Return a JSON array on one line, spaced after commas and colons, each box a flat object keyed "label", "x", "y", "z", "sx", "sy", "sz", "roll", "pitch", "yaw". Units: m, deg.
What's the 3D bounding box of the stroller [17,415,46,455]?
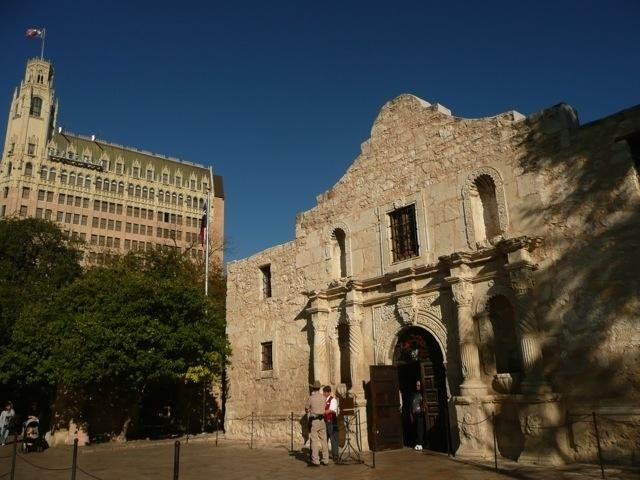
[{"label": "stroller", "x": -11.168, "y": 7.603, "z": 21.245, "sx": 0.859, "sy": 1.319, "sz": 1.763, "roll": 9, "pitch": -21, "yaw": -25}]

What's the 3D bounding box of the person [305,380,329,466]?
[{"label": "person", "x": -0.087, "y": 5.492, "z": 15.838, "sx": 0.629, "sy": 2.068, "sz": 0.803, "roll": 0, "pitch": -19, "yaw": -1}]

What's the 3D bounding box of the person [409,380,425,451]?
[{"label": "person", "x": 3.267, "y": 5.829, "z": 18.035, "sx": 0.436, "sy": 2.189, "sz": 0.724, "roll": -3, "pitch": -19, "yaw": 8}]
